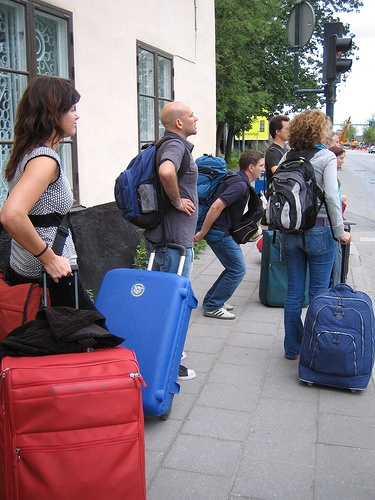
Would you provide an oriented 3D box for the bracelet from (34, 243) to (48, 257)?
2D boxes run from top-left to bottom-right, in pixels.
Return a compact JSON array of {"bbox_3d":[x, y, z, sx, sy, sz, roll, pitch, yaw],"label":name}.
[{"bbox_3d":[-0.583,0.005,1.819,0.053,0.059,0.046,-2,7,-18],"label":"bracelet"}]

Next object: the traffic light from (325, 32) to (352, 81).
[{"bbox_3d":[2.082,-2.689,6.327,0.366,0.669,0.558,2,7,16],"label":"traffic light"}]

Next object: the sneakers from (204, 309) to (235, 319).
[{"bbox_3d":[0.341,0.689,5.030,0.291,0.121,0.124,0,7,7],"label":"sneakers"}]

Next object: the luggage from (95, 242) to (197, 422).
[{"bbox_3d":[-0.270,0.433,2.841,0.594,1.137,0.371,5,-19,20],"label":"luggage"}]

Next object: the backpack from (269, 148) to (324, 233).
[{"bbox_3d":[0.816,-0.411,3.486,0.437,0.595,0.280,3,7,21],"label":"backpack"}]
